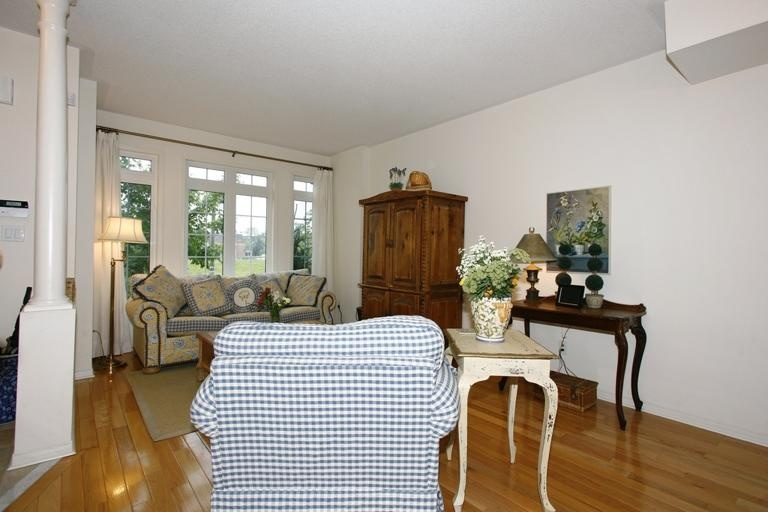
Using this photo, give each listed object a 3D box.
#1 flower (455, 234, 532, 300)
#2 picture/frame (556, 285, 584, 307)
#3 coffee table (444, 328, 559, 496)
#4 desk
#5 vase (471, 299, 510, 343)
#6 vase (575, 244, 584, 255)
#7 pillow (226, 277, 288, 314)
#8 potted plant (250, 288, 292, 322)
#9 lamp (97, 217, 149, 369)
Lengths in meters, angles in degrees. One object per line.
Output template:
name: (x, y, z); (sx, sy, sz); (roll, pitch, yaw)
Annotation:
flower: (0.915, 0.133, 4.572); (0.651, 0.572, 0.655); (-6, -10, 39)
picture/frame: (2.005, 0.442, 5.438); (0.069, 0.204, 0.212); (19, -14, -36)
coffee table: (0.843, 1.435, 4.728); (1.082, 1.386, 1.479); (1, 0, -7)
desk: (2.052, 1.118, 5.194); (0.593, 1.091, 1.301); (1, -1, -31)
vase: (0.937, 0.541, 4.436); (0.369, 0.403, 0.349); (3, -6, 3)
vase: (2.199, -0.067, 5.748); (0.104, 0.127, 0.105); (3, -3, 0)
pillow: (-1.806, 0.431, 6.888); (0.836, 0.519, 0.247); (1, -22, -37)
potted plant: (-1.409, 0.593, 6.305); (0.519, 0.527, 0.491); (6, -7, -14)
lamp: (-3.377, 0.446, 6.445); (0.499, 1.909, 0.752); (-1, 4, -38)
